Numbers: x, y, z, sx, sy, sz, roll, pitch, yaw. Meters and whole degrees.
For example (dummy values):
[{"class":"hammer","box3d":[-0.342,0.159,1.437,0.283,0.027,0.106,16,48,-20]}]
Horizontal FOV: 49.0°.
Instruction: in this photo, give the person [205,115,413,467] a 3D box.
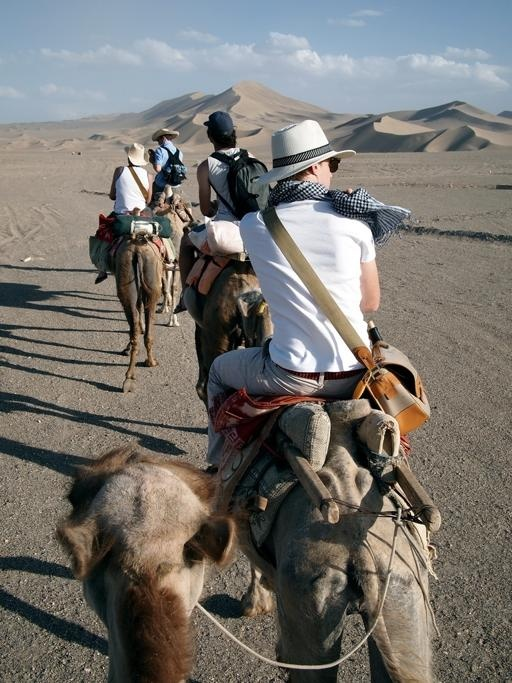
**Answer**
[{"class":"person","box3d":[0.221,-0.131,2.867,0.939,1.752,1.203,6,19,17]}]

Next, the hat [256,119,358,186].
[{"class":"hat","box3d":[0.197,-0.872,2.520,0.445,0.218,0.396,-27,25,-27]}]

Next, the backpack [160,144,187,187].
[{"class":"backpack","box3d":[-1.562,-3.296,10.632,0.464,0.643,0.688,-13,25,-39]}]

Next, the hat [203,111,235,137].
[{"class":"hat","box3d":[-0.268,-1.740,4.366,0.194,0.167,0.264,-6,49,-8]}]
